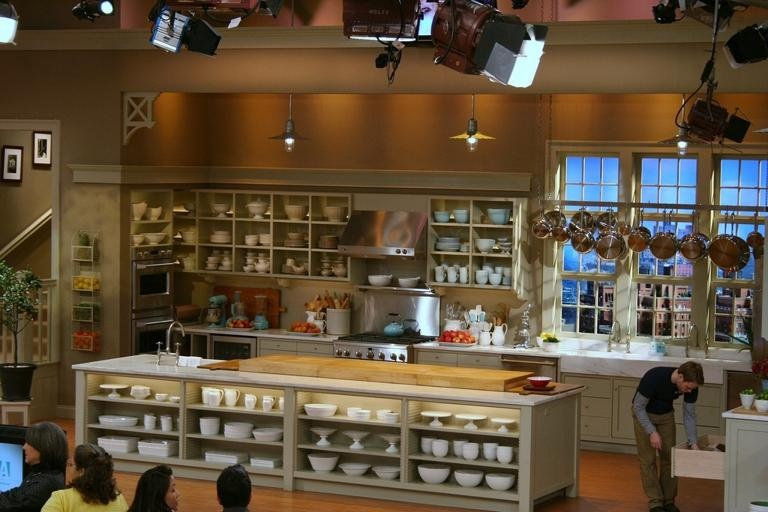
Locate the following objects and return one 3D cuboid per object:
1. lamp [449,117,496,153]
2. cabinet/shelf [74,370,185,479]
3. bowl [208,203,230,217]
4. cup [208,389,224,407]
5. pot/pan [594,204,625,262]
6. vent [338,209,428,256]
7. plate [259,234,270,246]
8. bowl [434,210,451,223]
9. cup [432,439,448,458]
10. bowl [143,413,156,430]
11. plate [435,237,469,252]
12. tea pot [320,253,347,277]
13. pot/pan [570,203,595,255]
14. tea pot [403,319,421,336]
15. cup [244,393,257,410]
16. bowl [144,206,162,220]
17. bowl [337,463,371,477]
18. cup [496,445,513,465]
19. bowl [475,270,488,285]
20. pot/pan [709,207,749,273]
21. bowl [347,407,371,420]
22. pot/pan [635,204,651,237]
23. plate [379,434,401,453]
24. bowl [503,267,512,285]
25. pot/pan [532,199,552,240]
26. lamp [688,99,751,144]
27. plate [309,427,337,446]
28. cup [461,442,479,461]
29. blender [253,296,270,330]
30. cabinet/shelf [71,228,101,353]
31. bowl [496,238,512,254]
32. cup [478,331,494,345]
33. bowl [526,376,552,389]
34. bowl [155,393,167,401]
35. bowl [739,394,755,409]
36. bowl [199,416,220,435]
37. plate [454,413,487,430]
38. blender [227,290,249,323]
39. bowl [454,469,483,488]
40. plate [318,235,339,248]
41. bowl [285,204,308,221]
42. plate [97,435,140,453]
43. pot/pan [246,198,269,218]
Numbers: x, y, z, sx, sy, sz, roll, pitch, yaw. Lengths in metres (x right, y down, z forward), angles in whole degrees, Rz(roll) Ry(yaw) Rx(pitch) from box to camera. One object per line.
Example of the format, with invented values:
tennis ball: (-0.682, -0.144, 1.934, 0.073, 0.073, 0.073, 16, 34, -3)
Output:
lamp: (1.211, -1.537, 9.206, 0.676, 0.467, 0.655, -4, 8, -30)
cabinet/shelf: (-2.728, 1.816, 7.912, 1.309, 1.025, 0.429, 0, -3, 19)
bowl: (-2.586, -0.742, 11.514, 0.256, 0.161, 0.248, 0, 2, 0)
cup: (-1.908, 1.586, 8.183, 0.148, 0.187, 0.198, -6, -9, 43)
pot/pan: (2.858, -0.283, 9.277, 0.370, 0.650, 0.471, 1, -4, 17)
vent: (0.068, -0.356, 10.772, 1.247, 0.681, 0.910, 4, 16, 29)
plate: (-1.850, -0.265, 11.285, 0.184, 0.122, 0.177, 0, 2, -9)
bowl: (0.810, -0.575, 10.412, 0.169, 0.107, 0.191, -1, -4, 5)
cup: (0.571, 1.976, 7.532, 0.169, 0.136, 0.176, 0, -4, 0)
bowl: (-2.706, 1.902, 8.422, 0.134, 0.172, 0.193, 3, -3, -11)
plate: (0.958, -0.220, 10.390, 0.296, 0.106, 0.287, -4, 5, -33)
tea pot: (-0.796, 0.120, 11.058, 0.609, 0.295, 0.416, 3, 8, 11)
pot/pan: (2.551, -0.340, 9.400, 0.297, 0.560, 0.362, 1, -4, 15)
tea pot: (0.391, 1.034, 10.728, 0.269, 0.242, 0.194, 2, -3, 11)
cup: (-1.489, 1.621, 8.150, 0.121, 0.160, 0.167, -4, -7, 40)
bowl: (-3.487, -0.658, 10.993, 0.208, 0.156, 0.181, 2, -4, -40)
bowl: (-0.332, 2.279, 7.843, 0.353, 0.125, 0.232, 2, -3, 4)
cup: (1.204, 1.991, 7.347, 0.175, 0.130, 0.169, 0, -4, 0)
bowl: (1.353, 0.286, 10.200, 0.192, 0.198, 0.189, 2, 1, 0)
pot/pan: (3.938, -0.062, 8.353, 0.439, 0.404, 0.243, 1, -4, 21)
bowl: (-0.263, 1.647, 7.760, 0.148, 0.060, 0.151, 0, 5, 0)
pot/pan: (3.391, -0.492, 9.589, 0.063, 0.408, 0.253, -1, -3, -27)
plate: (0.058, 1.966, 7.723, 0.189, 0.132, 0.186, -5, 4, -40)
bowl: (1.705, 0.269, 10.138, 0.055, 0.243, 0.159, 5, -5, -42)
pot/pan: (2.104, -0.487, 9.703, 0.296, 0.497, 0.155, -2, -3, 21)
lamp: (3.381, -1.376, 7.511, 0.662, 0.462, 0.233, 20, 10, 14)
plate: (-0.674, 1.930, 7.937, 0.208, 0.130, 0.207, -3, 0, -20)
cup: (0.872, 1.984, 7.436, 0.179, 0.133, 0.163, -2, -3, 0)
blender: (-1.915, 0.852, 11.357, 0.229, 0.527, 0.397, 3, -3, -9)
cabinet/shelf: (-4.298, 0.485, 10.451, 0.490, 1.683, 0.259, 0, -4, 26)
bowl: (1.661, -0.151, 10.227, 0.180, 0.223, 0.345, 2, -3, -9)
cup: (1.400, 1.138, 10.181, 0.208, 0.184, 0.154, 4, -6, -25)
bowl: (1.620, 1.319, 7.682, 0.233, 0.116, 0.240, 2, -3, 0)
bowl: (-2.569, 1.609, 8.391, 0.103, 0.046, 0.088, 0, 1, -10)
bowl: (3.472, 1.388, 7.046, 0.152, 0.142, 0.148, 2, 2, 0)
bowl: (-1.988, 1.907, 8.292, 0.201, 0.144, 0.204, 1, 3, 0)
plate: (0.893, 1.689, 7.541, 0.189, 0.064, 0.184, -2, 3, -32)
blender: (-2.282, 0.756, 11.427, 0.401, 0.412, 0.426, 1, 3, 7)
bowl: (0.862, 2.257, 7.463, 0.203, 0.098, 0.196, -1, 1, 0)
plate: (-0.852, -0.226, 10.989, 0.215, 0.123, 0.211, 0, 0, 20)
bowl: (-1.352, -0.677, 11.103, 0.279, 0.166, 0.269, -1, 1, 0)
plate: (-3.086, 2.176, 8.468, 0.458, 0.151, 0.297, 1, 1, 18)
pot/pan: (-1.968, -0.773, 11.434, 0.328, 0.255, 0.306, 1, 4, 20)
